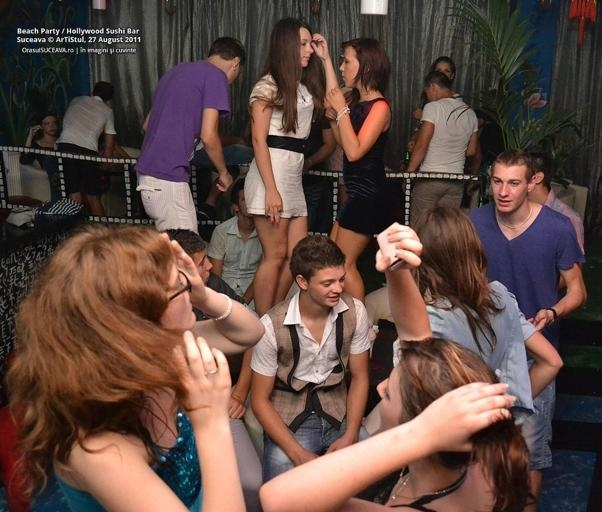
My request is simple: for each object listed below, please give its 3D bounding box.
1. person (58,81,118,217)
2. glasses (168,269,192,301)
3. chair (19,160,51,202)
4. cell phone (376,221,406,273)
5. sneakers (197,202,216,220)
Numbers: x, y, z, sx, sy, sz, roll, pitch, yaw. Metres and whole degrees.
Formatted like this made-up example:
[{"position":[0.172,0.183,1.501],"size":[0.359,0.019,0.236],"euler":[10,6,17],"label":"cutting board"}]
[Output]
[{"position":[-2.200,-1.106,5.348],"size":[0.532,1.368,0.649],"euler":[6,15,20],"label":"person"},{"position":[-0.286,0.078,1.217],"size":[0.046,0.017,0.054],"euler":[-1,31,9],"label":"glasses"},{"position":[-2.737,-0.765,5.296],"size":[0.265,0.369,0.131],"euler":[-7,16,-31],"label":"chair"},{"position":[0.216,-0.005,1.192],"size":[0.019,0.098,0.086],"euler":[7,-21,-29],"label":"cell phone"},{"position":[-0.919,-0.433,5.012],"size":[0.081,0.205,0.259],"euler":[8,16,28],"label":"sneakers"}]
